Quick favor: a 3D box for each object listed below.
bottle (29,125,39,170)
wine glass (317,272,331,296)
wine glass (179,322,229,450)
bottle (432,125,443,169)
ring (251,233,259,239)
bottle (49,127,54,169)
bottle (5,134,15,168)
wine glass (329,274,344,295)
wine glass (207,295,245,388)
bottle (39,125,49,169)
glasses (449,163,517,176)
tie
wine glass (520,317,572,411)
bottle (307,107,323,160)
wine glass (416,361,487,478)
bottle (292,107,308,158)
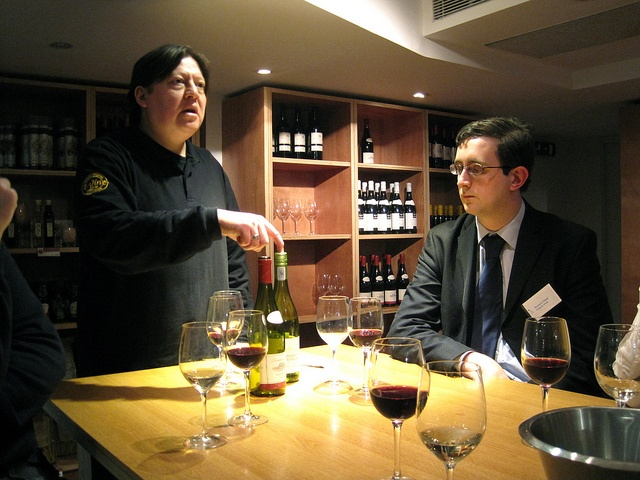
[{"bbox_3d":[-1.876,-0.616,3.458,0.067,0.285,0.047,-4,7,-26],"label":"bottle"},{"bbox_3d":[0.019,0.371,4.186,0.107,0.150,0.213,-1,6,1],"label":"wine glass"},{"bbox_3d":[-0.321,0.365,1.394,0.111,0.291,0.219,-4,7,-25],"label":"wine glass"},{"bbox_3d":[1.073,-0.869,4.881,0.108,0.390,0.090,-4,4,-28],"label":"bottle"},{"bbox_3d":[-0.207,-0.010,1.687,0.020,0.017,0.009,-3,6,-12],"label":"ring"},{"bbox_3d":[-1.808,-0.614,3.552,0.026,0.275,0.126,-3,6,-20],"label":"bottle"},{"bbox_3d":[-2.006,-0.582,3.401,0.062,0.226,0.062,-1,6,0],"label":"bottle"},{"bbox_3d":[0.118,0.354,4.198,0.114,0.134,0.218,-1,6,2],"label":"wine glass"},{"bbox_3d":[-0.293,0.301,1.588,0.096,0.238,0.096,-5,-1,-2],"label":"wine glass"},{"bbox_3d":[-1.820,-0.618,3.492,0.083,0.290,0.059,-4,7,-29],"label":"bottle"},{"bbox_3d":[0.703,-0.313,2.348,0.119,0.038,0.116,3,-1,-33],"label":"glasses"},{"bbox_3d":[0.707,0.231,2.239,0.130,0.496,0.198,1,6,20],"label":"tie"},{"bbox_3d":[0.635,0.402,1.498,0.123,0.379,0.126,2,5,41],"label":"wine glass"},{"bbox_3d":[-0.044,-0.851,4.217,0.112,0.415,0.237,-1,6,2],"label":"bottle"},{"bbox_3d":[0.258,0.362,1.050,0.133,0.228,0.101,0,6,11],"label":"wine glass"},{"bbox_3d":[-0.166,-0.847,4.184,0.117,0.411,0.354,-1,6,-2],"label":"bottle"}]
